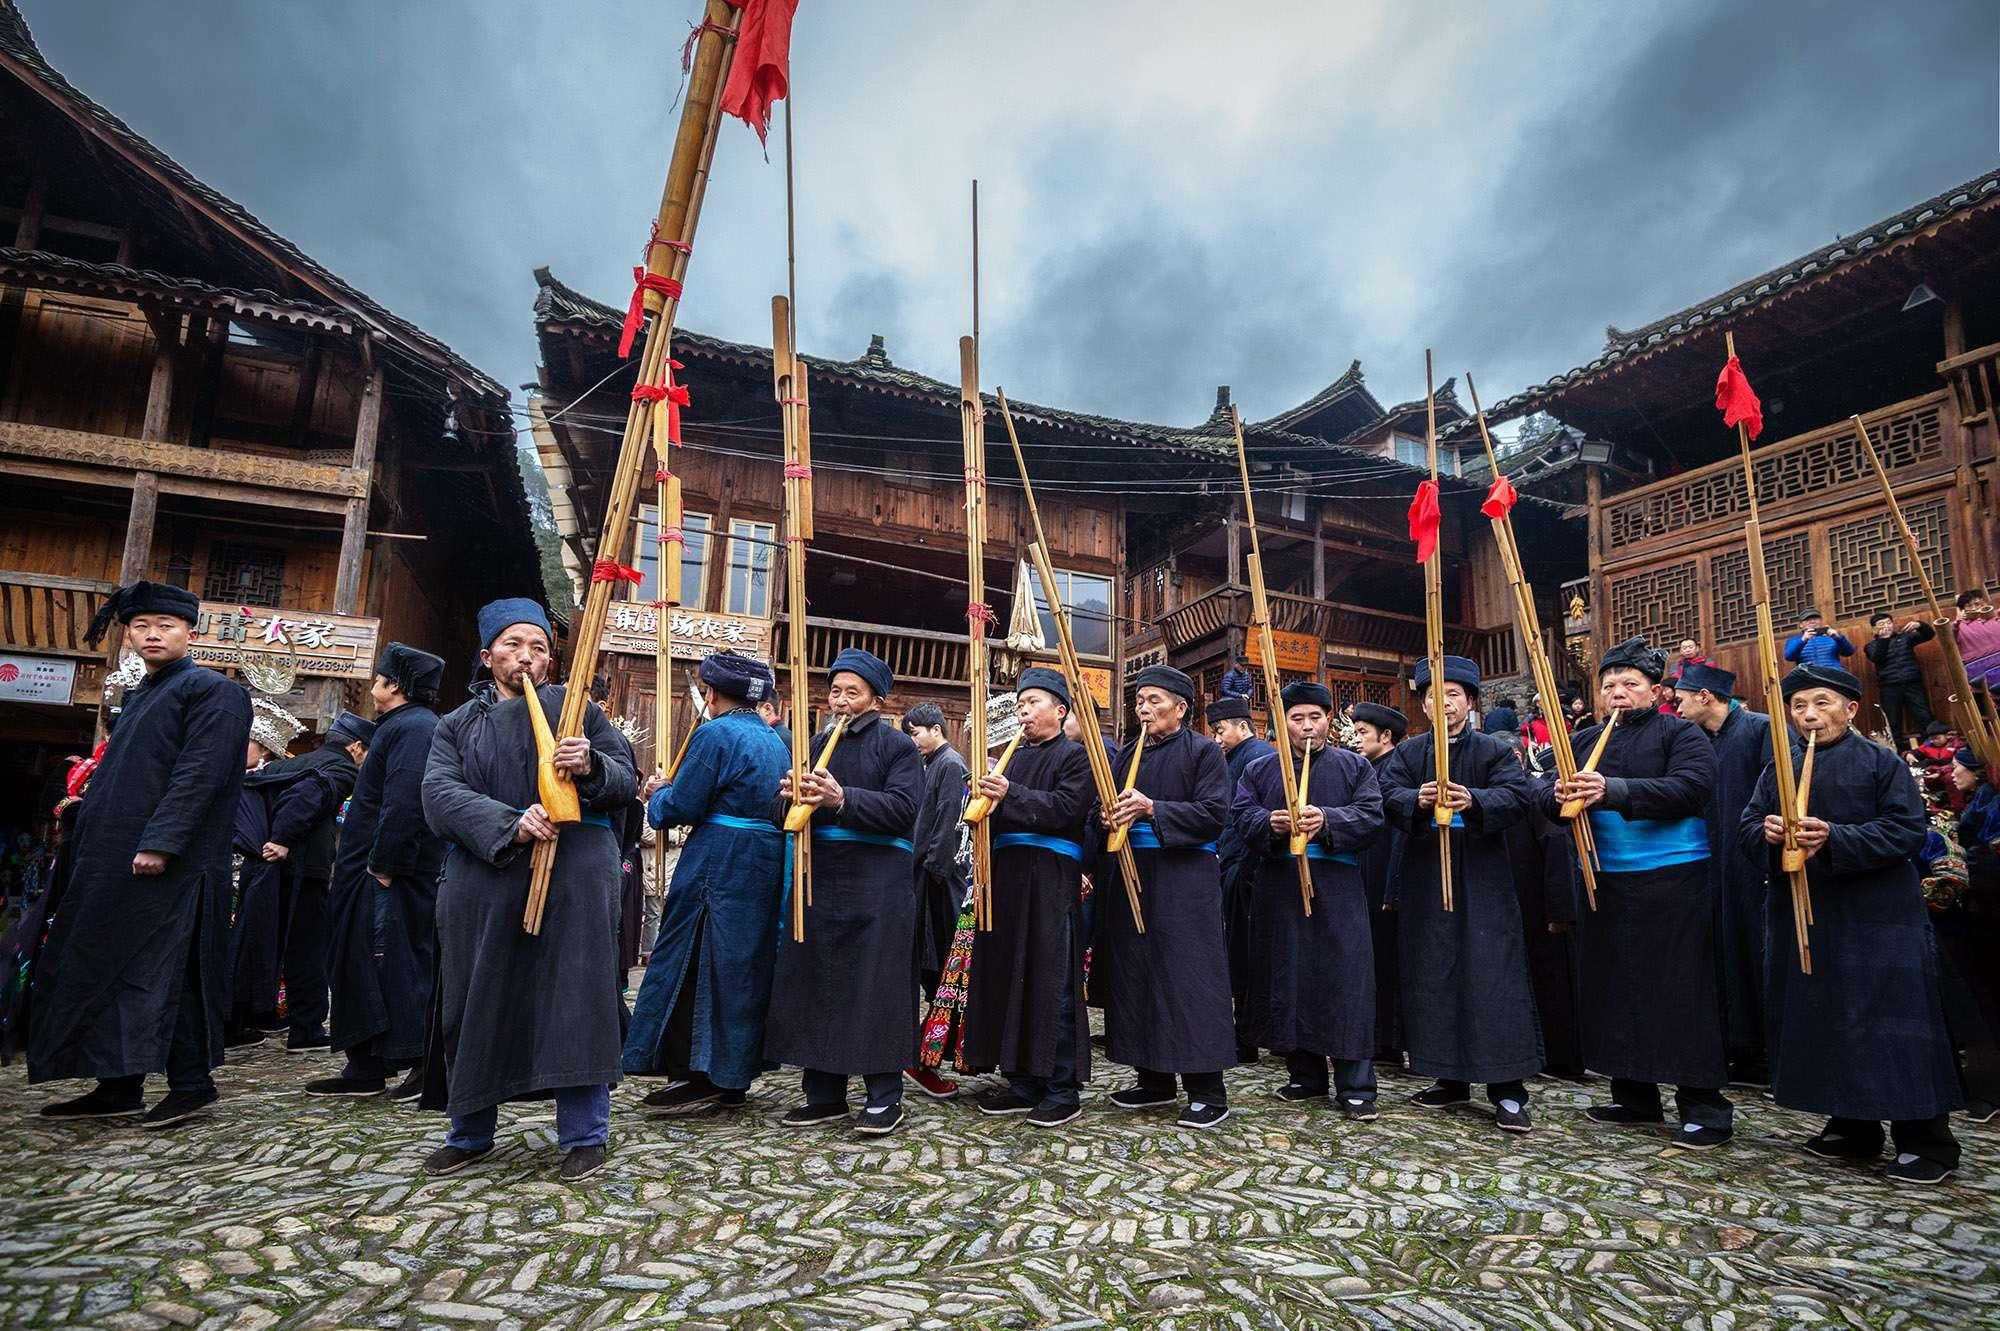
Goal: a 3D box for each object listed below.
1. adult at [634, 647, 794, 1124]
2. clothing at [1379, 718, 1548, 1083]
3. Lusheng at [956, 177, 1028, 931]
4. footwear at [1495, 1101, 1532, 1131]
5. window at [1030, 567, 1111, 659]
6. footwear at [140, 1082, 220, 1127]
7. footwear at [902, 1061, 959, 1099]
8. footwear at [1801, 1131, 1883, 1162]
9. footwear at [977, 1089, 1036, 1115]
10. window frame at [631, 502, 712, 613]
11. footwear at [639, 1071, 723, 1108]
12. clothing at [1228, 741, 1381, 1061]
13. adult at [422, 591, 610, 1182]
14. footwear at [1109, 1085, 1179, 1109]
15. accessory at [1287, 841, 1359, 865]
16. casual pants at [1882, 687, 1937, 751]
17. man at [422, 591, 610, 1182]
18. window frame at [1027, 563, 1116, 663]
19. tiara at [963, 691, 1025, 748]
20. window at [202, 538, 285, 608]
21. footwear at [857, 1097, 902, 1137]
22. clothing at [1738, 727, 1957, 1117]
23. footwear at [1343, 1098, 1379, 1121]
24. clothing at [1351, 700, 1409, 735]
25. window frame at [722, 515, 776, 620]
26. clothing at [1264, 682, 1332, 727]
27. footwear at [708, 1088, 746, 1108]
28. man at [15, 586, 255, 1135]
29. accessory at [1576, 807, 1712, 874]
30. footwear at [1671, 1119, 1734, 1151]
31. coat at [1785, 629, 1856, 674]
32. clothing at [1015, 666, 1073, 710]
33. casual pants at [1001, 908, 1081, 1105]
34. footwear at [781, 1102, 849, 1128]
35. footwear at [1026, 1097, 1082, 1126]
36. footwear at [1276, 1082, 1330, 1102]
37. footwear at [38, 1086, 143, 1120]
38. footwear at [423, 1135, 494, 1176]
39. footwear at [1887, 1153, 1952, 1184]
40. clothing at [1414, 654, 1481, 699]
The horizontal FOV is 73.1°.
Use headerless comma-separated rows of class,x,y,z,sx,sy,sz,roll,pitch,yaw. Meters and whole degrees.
adult,-1.668,1.212,7.800,0.870,2.536,0.778,1,-6,-10
clothing,2.609,1.355,7.656,0.773,1.808,0.912,0,10,-3
Lusheng,-0.091,-0.378,7.782,0.169,3.706,0.168,-7,11,1
footwear,2.816,2.459,7.373,0.189,0.134,0.201,3,11,12
window,0.792,-0.565,15.322,1.223,1.315,0.066,17,-46,1
footwear,-4.375,2.355,7.164,0.155,0.159,0.399,-1,-14,-3
footwear,-0.382,2.529,8.136,0.436,0.190,0.161,3,-21,41
footwear,4.391,2.508,7.066,0.378,0.163,0.143,-4,-4,24
footwear,0.029,2.513,7.694,0.335,0.135,0.125,11,-26,-7
window frame,-3.742,-1.163,15.932,0.706,1.010,0.899,20,8,-6
footwear,-1.775,2.385,7.556,0.548,0.230,0.183,7,-21,-39
clothing,1.874,1.387,7.814,0.704,1.652,0.867,-5,12,-30
adult,-2.376,1.079,6.776,1.010,2.741,1.028,-1,10,-9
footwear,0.823,2.466,7.733,0.368,0.149,0.146,5,-14,-14
accessory,1.913,1.100,7.805,0.245,0.094,0.180,5,-4,-5
casual pants,8.447,0.502,12.525,0.198,0.684,0.296,19,-33,-15
man,-2.374,1.079,6.777,1.007,2.741,1.028,-1,10,-9
window frame,0.804,-0.570,15.447,1.414,1.495,0.076,6,-37,-16
tiara,0.000,0.528,13.662,0.505,0.656,0.204,-12,-8,2
window,-9.054,-1.111,16.005,0.841,0.950,0.051,6,-17,-27
footwear,-0.670,2.441,7.195,0.292,0.121,0.105,16,-31,-41
clothing,4.394,1.230,7.137,0.737,2.272,0.879,13,-14,-37
footwear,2.010,2.460,7.468,0.097,0.080,0.187,3,-18,-17
clothing,2.439,0.320,8.604,0.329,0.153,0.285,20,-9,-32
window frame,-2.986,-1.171,16.173,0.063,1.154,0.532,5,4,-44
clothing,1.814,0.234,8.185,0.386,0.205,0.487,1,-8,8
footwear,-1.548,2.430,7.566,0.212,0.146,0.082,-4,-46,13
man,-4.612,0.986,7.240,0.864,2.786,1.050,2,10,6
accessory,3.528,0.957,7.300,0.446,0.305,0.392,-8,-11,18
footwear,3.684,2.474,7.113,0.338,0.136,0.122,-1,-20,-3
coat,7.325,-0.127,12.033,0.342,0.411,0.246,-6,-45,36
clothing,0.275,0.093,7.829,0.256,0.160,0.259,3,-25,7
casual pants,0.258,1.946,7.488,0.373,1.141,0.398,1,10,-1
footwear,-1.012,2.449,7.334,0.329,0.130,0.120,10,-21,-26
footwear,0.286,2.453,7.392,0.322,0.129,0.117,18,-39,-35
footwear,1.760,2.510,7.900,0.241,0.074,0.125,9,-11,-8
footwear,-4.955,2.346,7.321,0.526,0.207,0.194,7,-12,-24
footwear,-2.690,2.428,6.670,0.130,0.119,0.298,-10,-13,37
footwear,4.643,2.534,6.790,0.321,0.108,0.129,2,11,4
clothing,2.804,0.070,8.454,0.417,0.244,0.466,3,-6,-7
